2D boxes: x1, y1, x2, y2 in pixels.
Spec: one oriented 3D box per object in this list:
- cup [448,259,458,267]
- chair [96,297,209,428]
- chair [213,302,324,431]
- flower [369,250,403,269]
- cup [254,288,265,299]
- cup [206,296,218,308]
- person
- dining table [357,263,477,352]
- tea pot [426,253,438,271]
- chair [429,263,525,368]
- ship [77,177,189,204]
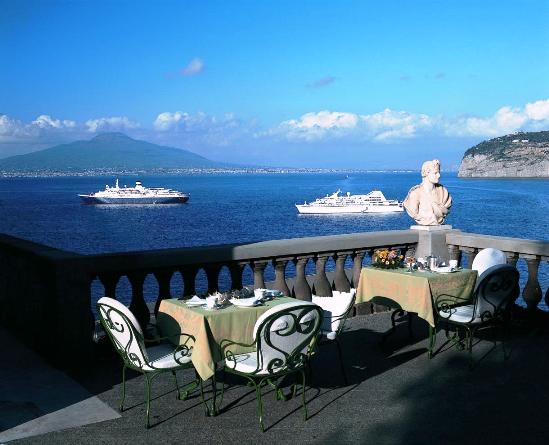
[{"bbox_3d":[2.150,0.492,5.513,0.099,0.082,0.104,-1,-1,0],"label":"cup"},{"bbox_3d":[-1.015,1.092,3.822,0.689,1.115,0.645,-6,2,-42],"label":"chair"},{"bbox_3d":[-0.026,1.085,3.775,0.744,1.102,0.736,7,6,43],"label":"chair"},{"bbox_3d":[1.318,0.437,5.493,0.269,0.122,0.242,-6,5,-36],"label":"flower"},{"bbox_3d":[-0.139,0.641,4.153,0.075,0.073,0.098,-1,-1,7],"label":"cup"},{"bbox_3d":[-0.530,0.670,3.860,0.075,0.062,0.084,1,-5,-28],"label":"cup"},{"bbox_3d":[2.250,-0.442,6.745,0.650,0.963,0.442,1,5,19],"label":"person"},{"bbox_3d":[1.756,0.800,5.342,0.935,0.575,0.931,-6,9,-38],"label":"dining table"},{"bbox_3d":[1.872,0.457,5.430,0.210,0.240,0.140,1,2,19],"label":"tea pot"},{"bbox_3d":[2.200,0.944,5.026,0.709,1.230,0.821,-7,8,-30],"label":"chair"},{"bbox_3d":[-32.004,-6.905,104.968,21.413,5.226,7.027,0,5,4],"label":"ship"}]
